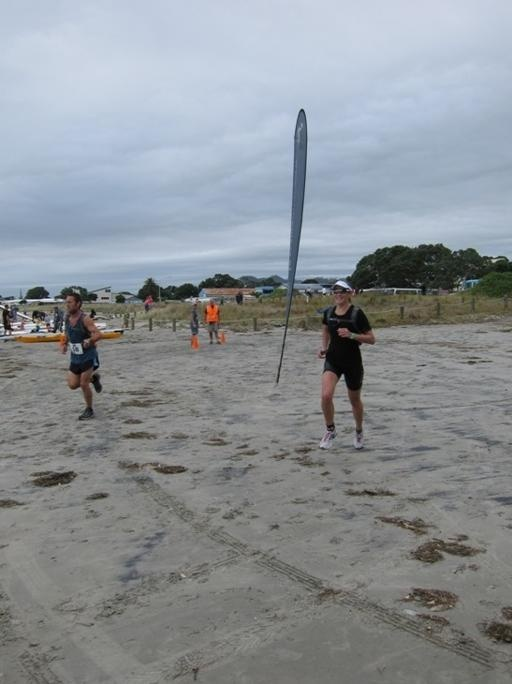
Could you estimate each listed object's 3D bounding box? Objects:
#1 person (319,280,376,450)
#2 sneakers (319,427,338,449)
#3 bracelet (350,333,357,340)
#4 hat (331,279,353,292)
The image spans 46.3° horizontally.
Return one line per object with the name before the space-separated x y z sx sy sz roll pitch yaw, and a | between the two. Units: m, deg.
person | 0.848 0.236 5.764 0.510 1.653 0.839 -1 5 5
sneakers | 0.706 0.957 6.001 0.100 0.126 0.286 6 39 27
bracelet | 0.876 -0.049 5.442 0.018 0.057 0.063 -13 14 -4
hat | 0.801 -0.517 5.521 0.125 0.086 0.173 0 -25 32
